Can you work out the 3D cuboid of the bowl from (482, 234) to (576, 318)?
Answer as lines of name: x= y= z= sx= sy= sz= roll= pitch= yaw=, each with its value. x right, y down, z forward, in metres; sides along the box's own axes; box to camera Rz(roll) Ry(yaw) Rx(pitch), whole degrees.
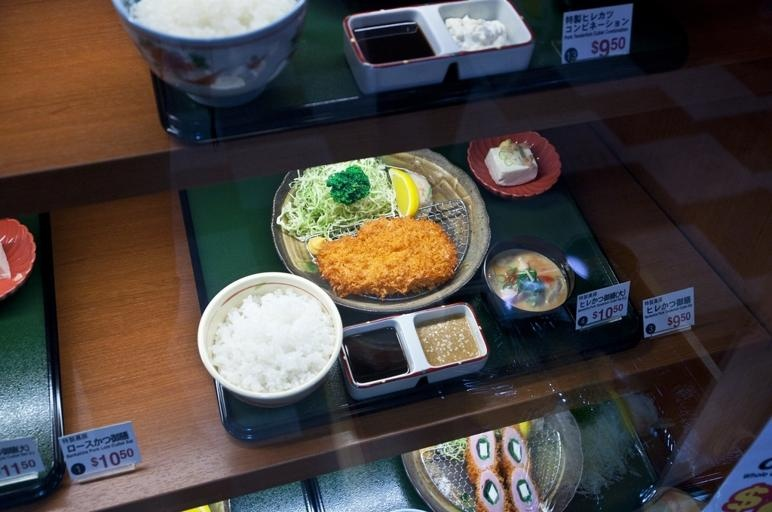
bowl: x=0.391 y=0.072 z=1.565 sx=0.231 sy=0.102 sz=0.230 roll=3 pitch=70 yaw=-8

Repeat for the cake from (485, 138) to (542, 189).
cake: x=0.385 y=-0.281 z=1.645 sx=0.144 sy=0.091 sz=0.144 roll=-18 pitch=74 yaw=-11

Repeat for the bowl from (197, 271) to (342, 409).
bowl: x=-0.251 y=0.207 z=1.349 sx=0.313 sy=0.131 sz=0.314 roll=-4 pitch=70 yaw=10
